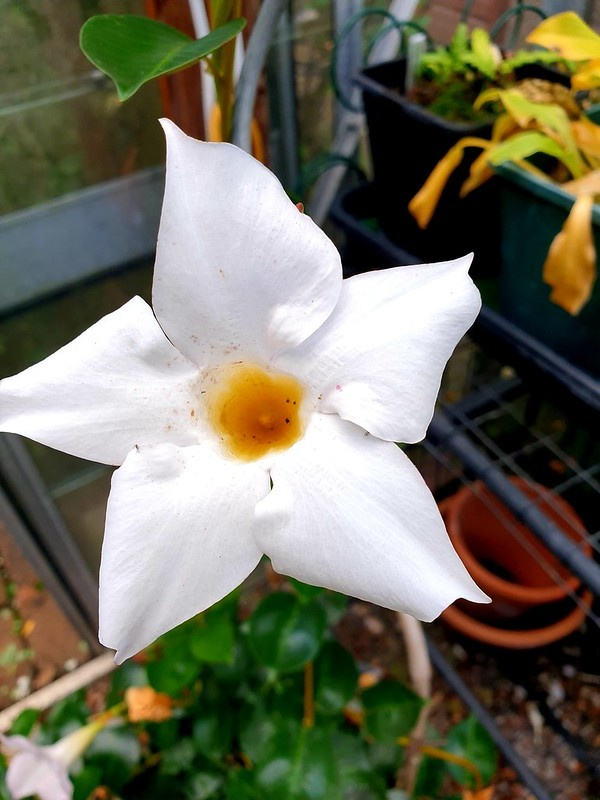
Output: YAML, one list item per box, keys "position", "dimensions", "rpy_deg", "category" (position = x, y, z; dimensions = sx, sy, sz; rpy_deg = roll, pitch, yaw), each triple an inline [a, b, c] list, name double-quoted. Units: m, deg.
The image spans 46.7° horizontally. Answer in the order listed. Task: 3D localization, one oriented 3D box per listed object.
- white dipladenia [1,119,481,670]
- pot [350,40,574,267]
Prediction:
- position: [-0.038, 0.007, 0.386]
  dimensions: [0.250, 0.220, 0.244]
  rpy_deg: [-2, 57, -9]
  category: "white dipladenia"
- position: [0.100, -0.198, 0.565]
  dimensions: [0.160, 0.124, 0.138]
  rpy_deg: [2, 46, -4]
  category: "pot"
